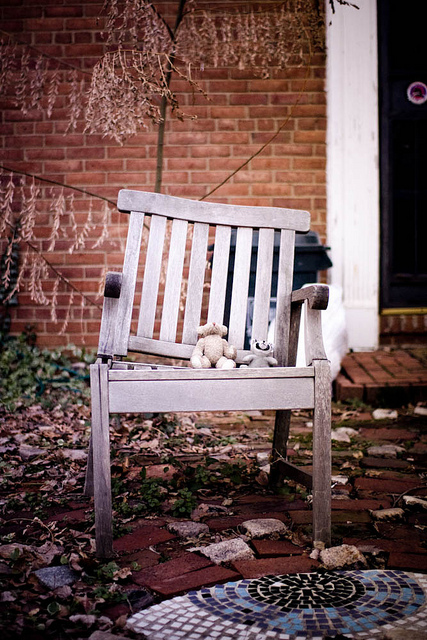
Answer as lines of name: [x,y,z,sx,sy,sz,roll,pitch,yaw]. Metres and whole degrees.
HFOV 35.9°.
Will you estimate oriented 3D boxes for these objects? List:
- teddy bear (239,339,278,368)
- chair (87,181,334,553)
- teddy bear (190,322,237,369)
teddy bear: [0.152,0.113,2.209,0.087,0.083,0.045,11,-32,3]
chair: [-0.012,0.115,2.123,0.803,0.988,0.634,4,3,2]
teddy bear: [0.002,0.087,2.190,0.145,0.141,0.191,0,8,4]
